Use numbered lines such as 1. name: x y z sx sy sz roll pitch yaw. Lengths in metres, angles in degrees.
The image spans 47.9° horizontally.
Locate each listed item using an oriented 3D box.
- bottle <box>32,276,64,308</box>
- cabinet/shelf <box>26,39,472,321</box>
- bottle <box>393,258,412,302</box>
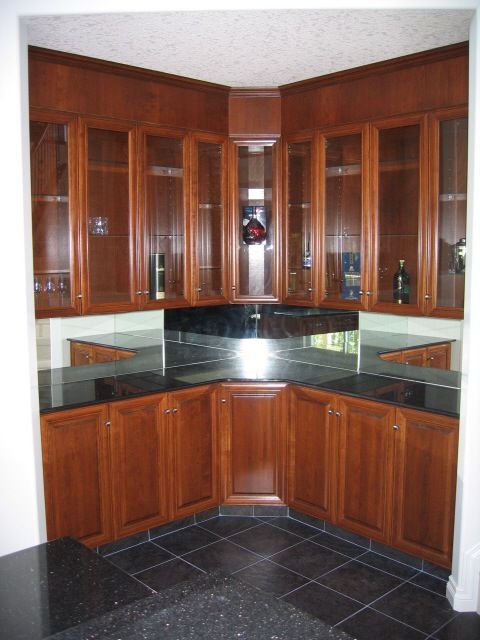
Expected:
1. bottle: -0.922 -0.138 2.623 0.031 0.166 0.176 1 3 36
2. cabinet/shelf: 0.080 -0.696 2.768 1.606 0.968 1.583 -6 9 -40
3. bottle: 0.815 -0.195 2.698 0.028 0.224 0.105 -2 3 -24
